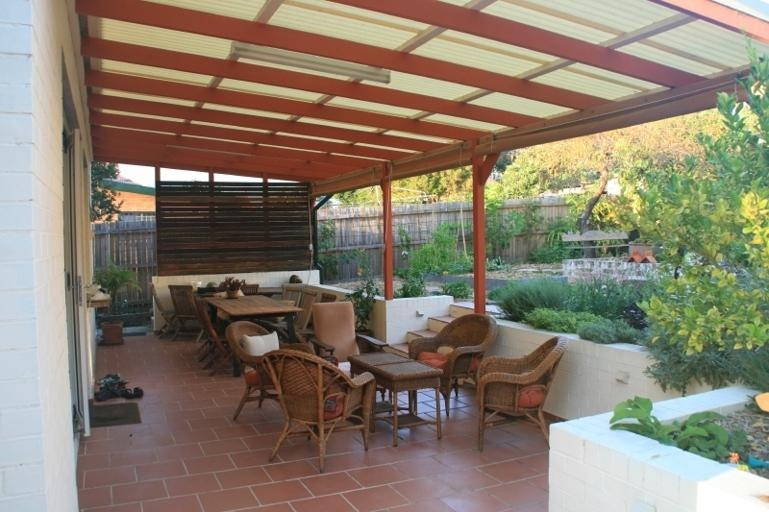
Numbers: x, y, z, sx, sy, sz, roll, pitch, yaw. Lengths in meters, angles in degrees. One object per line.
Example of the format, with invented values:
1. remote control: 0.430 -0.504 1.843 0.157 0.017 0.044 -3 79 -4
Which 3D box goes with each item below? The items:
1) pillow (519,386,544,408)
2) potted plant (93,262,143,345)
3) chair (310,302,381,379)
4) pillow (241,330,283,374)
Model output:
1. pillow: 1.538 1.456 5.291 0.347 0.285 0.080 -2 5 -32
2. potted plant: -5.858 1.158 10.805 0.983 1.437 1.018 1 4 -37
3. chair: -0.654 1.064 7.205 0.883 0.997 0.944 -2 -1 -25
4. pillow: -1.436 1.180 6.217 0.269 0.491 0.784 -22 -17 34
